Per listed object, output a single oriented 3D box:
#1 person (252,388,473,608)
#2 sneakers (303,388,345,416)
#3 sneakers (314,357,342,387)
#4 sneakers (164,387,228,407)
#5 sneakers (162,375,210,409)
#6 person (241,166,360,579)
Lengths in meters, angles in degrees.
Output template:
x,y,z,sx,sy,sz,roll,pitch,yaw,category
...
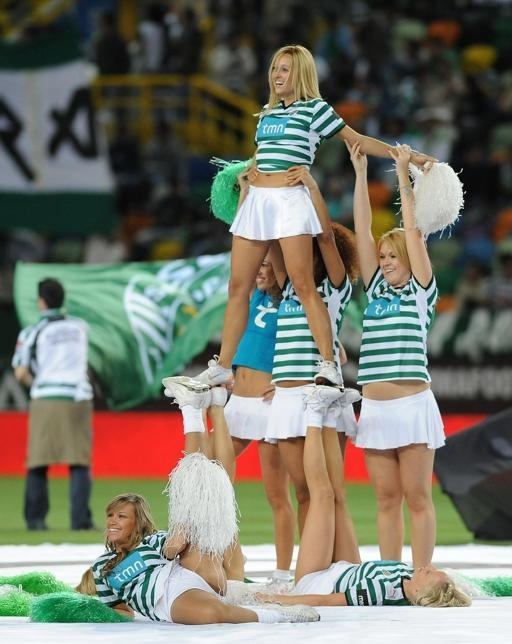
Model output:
x,y,z,sx,sy,sz,roll,pitch,yaw,category
0.467,0.777,5.190,1.092,0.975,1.113,0,-7,-25,person
0.325,0.366,5.355,0.152,0.059,0.120,-9,6,-44,sneakers
0.340,0.240,5.459,0.131,0.127,0.258,-1,8,3,sneakers
-0.271,0.349,5.404,0.213,0.064,0.120,4,-3,-3,sneakers
-0.330,0.317,5.405,0.194,0.071,0.152,14,8,26,sneakers
0.149,0.316,5.675,0.686,1.844,0.592,0,-12,9,person
